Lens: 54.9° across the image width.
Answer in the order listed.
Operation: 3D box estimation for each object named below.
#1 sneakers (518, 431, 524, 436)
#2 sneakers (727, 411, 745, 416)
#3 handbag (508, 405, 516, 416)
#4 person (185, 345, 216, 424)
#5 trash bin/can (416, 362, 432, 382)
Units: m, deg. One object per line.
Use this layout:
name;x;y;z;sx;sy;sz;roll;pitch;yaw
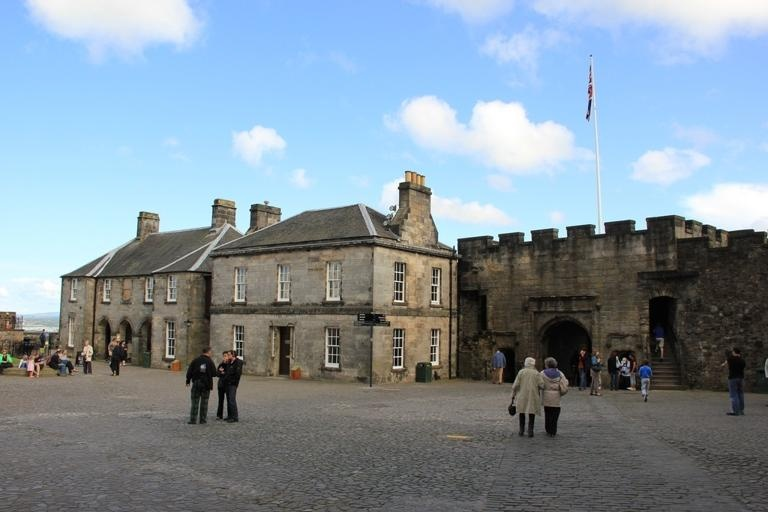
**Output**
sneakers;4.015;5.237;21.746;0.115;0.188;0.111;-10;-14;30
sneakers;11.951;5.351;25.129;0.507;0.200;0.151;-10;-5;-1
handbag;3.734;4.457;21.562;0.194;0.228;0.483;-1;-7;7
person;-5.849;4.139;23.795;0.894;2.387;1.518;2;-8;-13
trash bin/can;2.106;6.160;39.176;0.849;0.978;0.659;1;-8;-6
